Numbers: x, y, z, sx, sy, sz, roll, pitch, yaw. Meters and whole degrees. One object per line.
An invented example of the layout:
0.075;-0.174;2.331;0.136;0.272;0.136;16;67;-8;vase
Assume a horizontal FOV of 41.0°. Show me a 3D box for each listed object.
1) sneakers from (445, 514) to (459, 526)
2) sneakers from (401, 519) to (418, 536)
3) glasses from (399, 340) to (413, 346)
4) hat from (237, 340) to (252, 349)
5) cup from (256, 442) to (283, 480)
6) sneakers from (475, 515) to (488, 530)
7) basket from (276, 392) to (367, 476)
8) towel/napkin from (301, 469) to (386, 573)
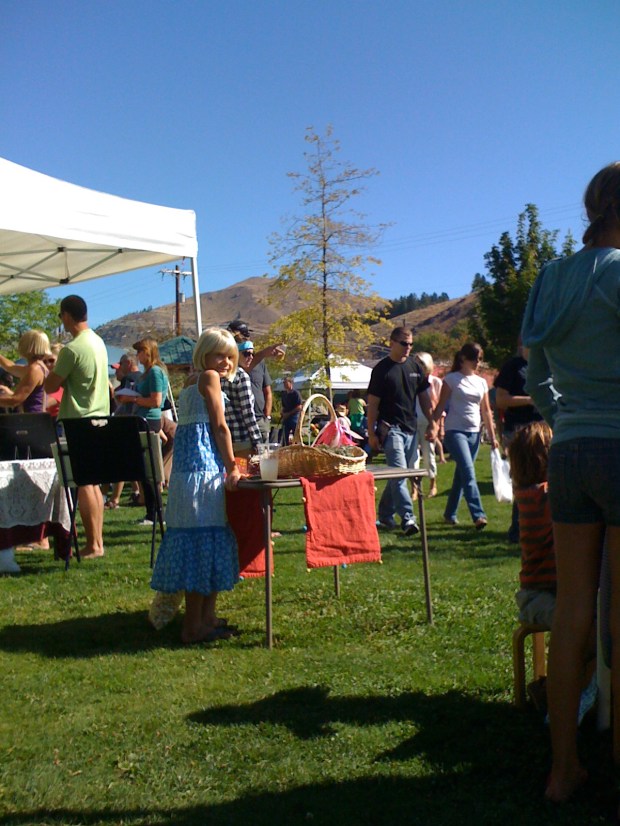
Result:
1.295;0.973;7.517;0.079;0.092;0.127;1;-3;15;sneakers
0.836;0.960;6.924;0.163;0.149;0.417;2;-2;4;sneakers
0.779;-0.566;6.757;0.081;0.022;0.077;2;3;-9;glasses
-0.542;-0.576;6.958;0.082;0.049;0.099;0;10;-3;hat
-0.222;0.245;3.998;0.155;0.172;0.148;-1;-3;0;cup
1.473;0.937;7.079;0.069;0.061;0.147;-5;-18;-1;sneakers
0.036;0.121;4.168;0.446;0.356;0.469;-4;-5;32;basket
0.162;0.506;3.934;0.534;0.430;0.126;-7;5;-40;towel/napkin
